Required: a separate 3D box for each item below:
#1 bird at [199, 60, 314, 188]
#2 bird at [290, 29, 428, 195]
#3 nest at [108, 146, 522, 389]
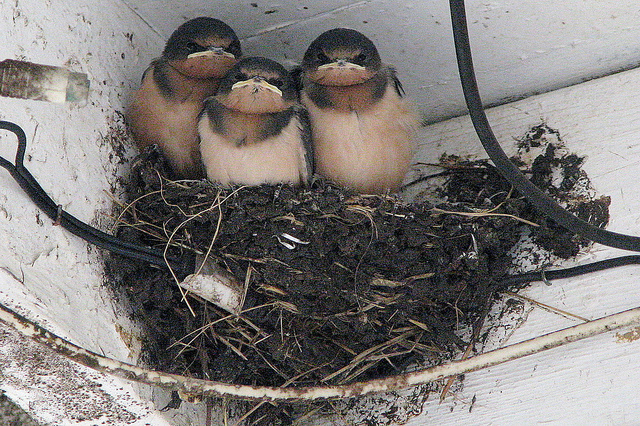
[{"bbox_3d":[-0.297,-0.355,4.535,0.474,0.555,0.314,-12,16,-2],"label":"bird"},{"bbox_3d":[0.149,-0.395,4.696,0.782,0.569,0.756,-5,-19,3],"label":"bird"},{"bbox_3d":[-0.167,0.316,4.117,1.541,0.513,1.409,-18,-20,-23],"label":"nest"}]
